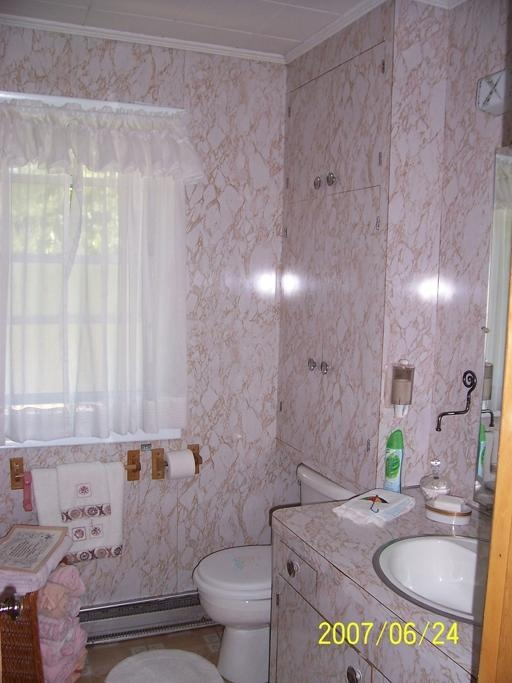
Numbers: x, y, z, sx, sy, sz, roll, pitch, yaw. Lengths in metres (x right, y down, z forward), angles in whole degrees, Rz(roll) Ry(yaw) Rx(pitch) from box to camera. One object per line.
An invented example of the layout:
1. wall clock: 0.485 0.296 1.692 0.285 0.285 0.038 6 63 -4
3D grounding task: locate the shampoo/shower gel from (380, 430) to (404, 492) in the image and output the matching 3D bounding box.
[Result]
1. shampoo/shower gel: 0.464 0.399 1.737 0.065 0.219 0.047 -1 0 10

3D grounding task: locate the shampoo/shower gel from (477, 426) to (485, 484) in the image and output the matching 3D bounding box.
1. shampoo/shower gel: 0.530 0.266 1.213 0.023 0.139 0.098 -1 0 24

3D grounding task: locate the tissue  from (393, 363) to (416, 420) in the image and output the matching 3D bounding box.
1. tissue : 0.485 0.166 1.717 0.075 0.196 0.099 -1 0 -10

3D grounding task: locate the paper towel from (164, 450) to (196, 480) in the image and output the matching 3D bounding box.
1. paper towel: -0.317 0.517 2.184 0.113 0.112 0.109 -3 -26 -36
